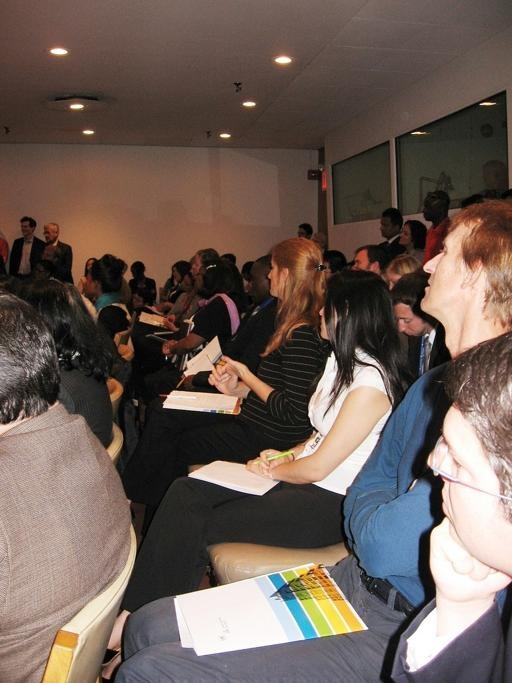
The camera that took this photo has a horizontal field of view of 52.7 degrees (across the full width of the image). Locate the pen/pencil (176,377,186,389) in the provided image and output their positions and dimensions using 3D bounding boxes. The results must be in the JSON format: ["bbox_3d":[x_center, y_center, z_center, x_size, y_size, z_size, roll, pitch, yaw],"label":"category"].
[{"bbox_3d":[-0.464,0.254,3.204,0.005,0.099,0.024,11,40,-47],"label":"pen/pencil"}]
